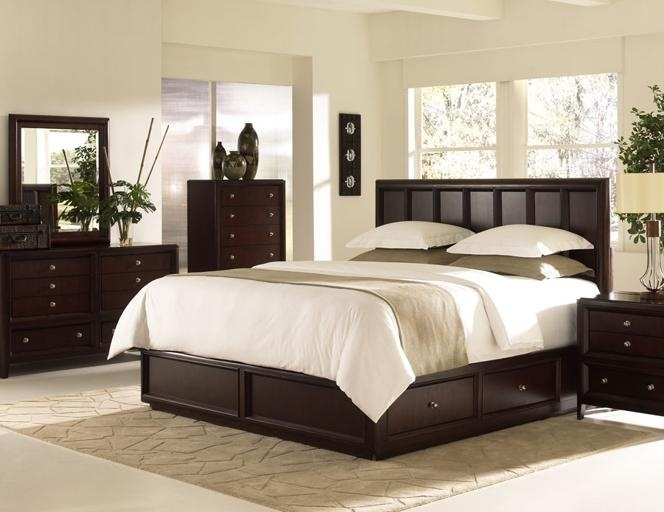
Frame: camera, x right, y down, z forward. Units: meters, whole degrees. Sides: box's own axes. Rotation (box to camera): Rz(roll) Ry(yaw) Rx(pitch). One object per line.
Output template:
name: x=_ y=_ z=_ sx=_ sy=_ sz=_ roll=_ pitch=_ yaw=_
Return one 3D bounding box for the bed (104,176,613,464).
bed: x=0.528 y=0.469 z=4.173 sx=2.428 sy=1.375 sz=2.471 roll=3 pitch=3 yaw=43

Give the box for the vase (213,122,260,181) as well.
vase: x=-1.125 y=-1.151 z=6.632 sx=0.492 sy=0.658 sz=0.367 roll=0 pitch=4 yaw=-11

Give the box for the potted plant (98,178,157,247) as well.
potted plant: x=-2.030 y=-0.418 z=5.744 sx=0.666 sy=0.564 sz=0.642 roll=-6 pitch=10 yaw=-34
